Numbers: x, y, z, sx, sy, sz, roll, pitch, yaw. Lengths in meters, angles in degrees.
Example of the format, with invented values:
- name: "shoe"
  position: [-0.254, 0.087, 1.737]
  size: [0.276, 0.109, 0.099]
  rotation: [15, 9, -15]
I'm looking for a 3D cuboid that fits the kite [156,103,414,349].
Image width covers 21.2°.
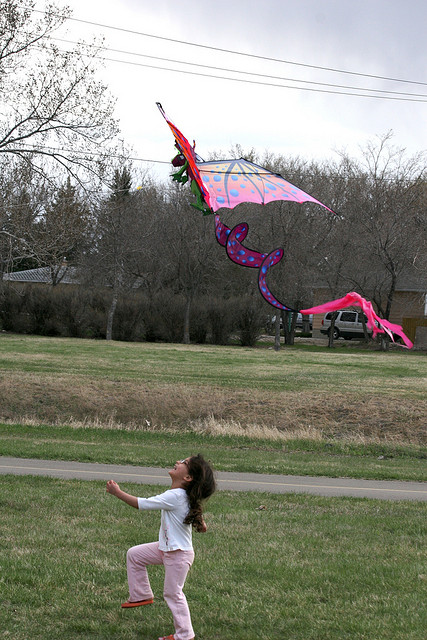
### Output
- name: "kite"
  position: [0.756, -0.891, 14.480]
  size: [3.905, 0.859, 3.393]
  rotation: [38, -3, -21]
